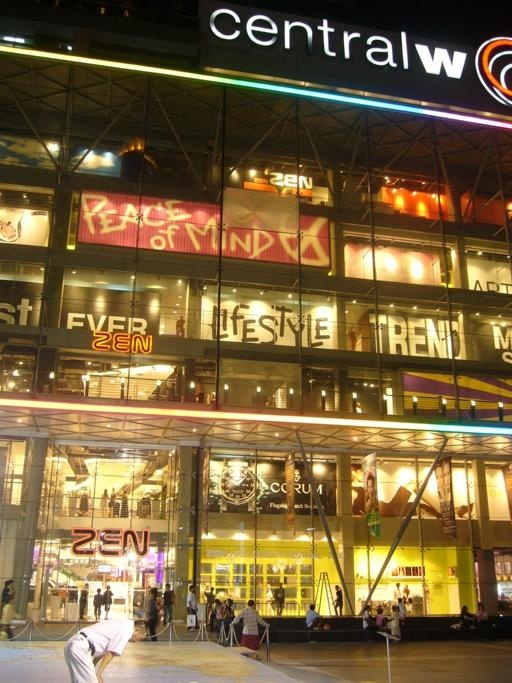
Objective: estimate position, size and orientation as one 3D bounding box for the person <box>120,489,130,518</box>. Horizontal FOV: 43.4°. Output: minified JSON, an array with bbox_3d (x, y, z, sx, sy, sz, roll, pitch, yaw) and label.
[{"bbox_3d":[-4.725,5.823,23.289,0.328,0.917,0.119,5,-19,-13],"label":"person"}]

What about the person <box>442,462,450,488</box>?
[{"bbox_3d":[5.636,3.930,19.150,0.229,0.819,0.888,-4,-18,14],"label":"person"}]

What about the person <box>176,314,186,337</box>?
[{"bbox_3d":[-3.189,-0.697,27.359,0.442,0.936,0.341,3,-18,-8],"label":"person"}]

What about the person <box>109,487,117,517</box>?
[{"bbox_3d":[-5.101,5.779,23.166,0.276,0.935,0.122,5,-19,-12],"label":"person"}]

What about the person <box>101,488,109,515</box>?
[{"bbox_3d":[-5.376,5.730,23.025,0.304,0.905,0.118,6,-19,-15],"label":"person"}]

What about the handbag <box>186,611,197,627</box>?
[{"bbox_3d":[-1.895,8.275,19.102,0.251,0.427,0.604,3,-18,-7],"label":"handbag"}]
